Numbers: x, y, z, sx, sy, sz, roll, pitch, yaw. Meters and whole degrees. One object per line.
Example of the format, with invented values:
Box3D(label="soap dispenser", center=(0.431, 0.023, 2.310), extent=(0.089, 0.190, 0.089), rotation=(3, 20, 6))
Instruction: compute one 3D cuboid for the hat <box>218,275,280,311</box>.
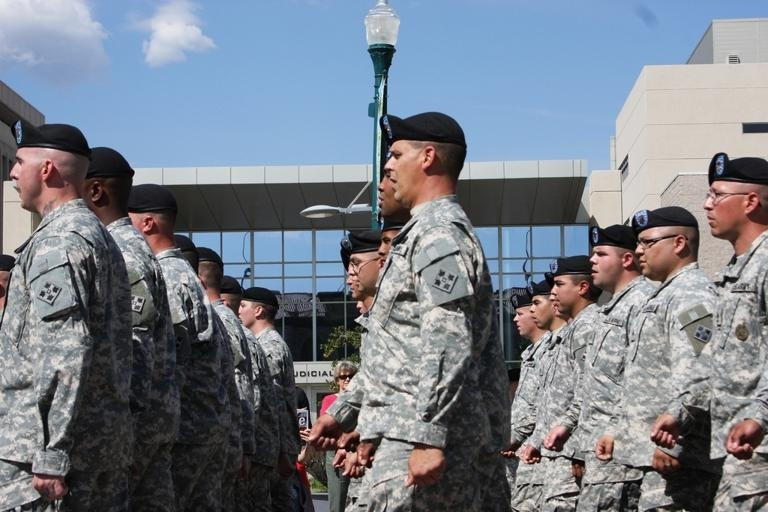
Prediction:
Box3D(label="hat", center=(-1.676, 0.452, 16.704), extent=(0.582, 0.227, 0.377), rotation=(7, -12, -25))

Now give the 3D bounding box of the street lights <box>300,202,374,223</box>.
Box3D(label="street lights", center=(-1.045, -0.990, 30.967), extent=(2.072, 0.313, 0.970), rotation=(-5, 6, -12))
